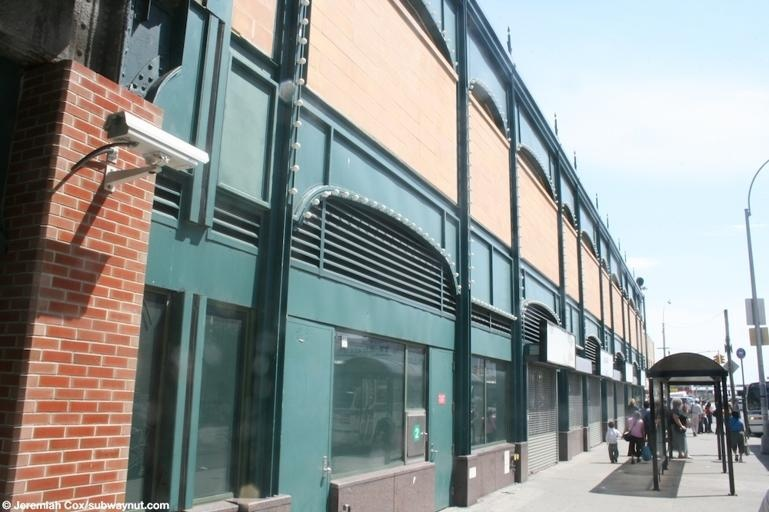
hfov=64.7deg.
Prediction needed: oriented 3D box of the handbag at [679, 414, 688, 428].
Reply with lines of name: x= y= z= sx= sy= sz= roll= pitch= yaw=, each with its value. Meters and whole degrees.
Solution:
handbag: x=11.200 y=6.161 z=22.720 sx=0.100 sy=0.485 sz=2.186 roll=-11 pitch=-20 yaw=26
